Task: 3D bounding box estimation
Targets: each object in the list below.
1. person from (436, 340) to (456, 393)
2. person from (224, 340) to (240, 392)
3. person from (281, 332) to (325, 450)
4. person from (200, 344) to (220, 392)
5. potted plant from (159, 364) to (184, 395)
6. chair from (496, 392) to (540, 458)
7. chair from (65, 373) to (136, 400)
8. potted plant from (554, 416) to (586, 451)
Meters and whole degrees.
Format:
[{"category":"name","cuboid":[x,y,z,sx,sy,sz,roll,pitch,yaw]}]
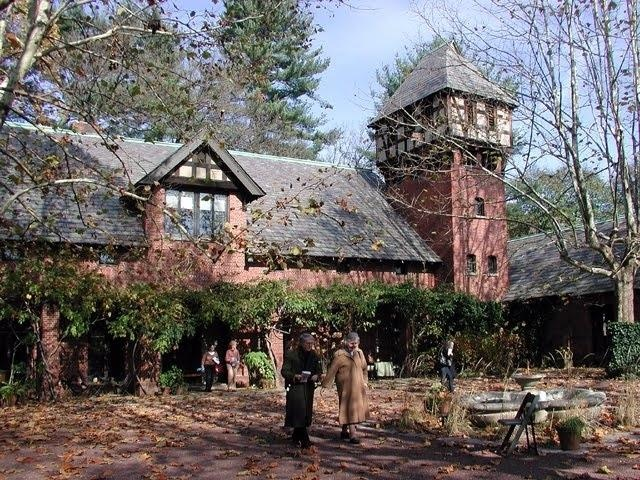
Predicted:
[{"category":"person","cuboid":[4.174,4.140,21.550,0.456,1.611,2.592,-1,-2,11]},{"category":"person","cuboid":[-3.147,4.526,23.770,0.408,1.782,0.627,-1,-1,-5]},{"category":"person","cuboid":[-0.410,3.185,14.044,0.757,2.353,0.859,-1,-1,15]},{"category":"person","cuboid":[-3.917,4.604,23.581,0.533,1.636,1.559,-1,-2,-10]},{"category":"potted plant","cuboid":[-5.125,4.866,22.956,0.699,1.085,0.843,-9,-14,19]},{"category":"chair","cuboid":[4.183,3.784,13.830,0.804,1.153,1.831,-2,-2,18]},{"category":"chair","cuboid":[-7.808,5.075,23.008,2.090,0.631,1.002,-1,-2,-11]},{"category":"potted plant","cuboid":[5.131,3.926,13.496,0.561,0.495,0.578,-5,-9,40]}]
